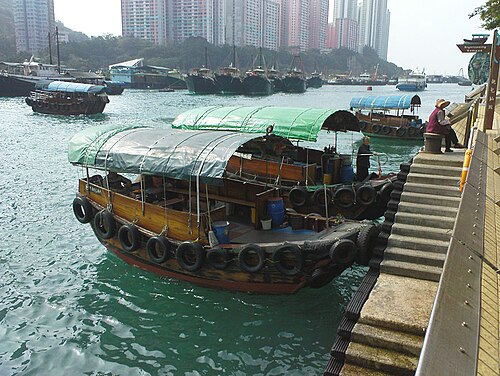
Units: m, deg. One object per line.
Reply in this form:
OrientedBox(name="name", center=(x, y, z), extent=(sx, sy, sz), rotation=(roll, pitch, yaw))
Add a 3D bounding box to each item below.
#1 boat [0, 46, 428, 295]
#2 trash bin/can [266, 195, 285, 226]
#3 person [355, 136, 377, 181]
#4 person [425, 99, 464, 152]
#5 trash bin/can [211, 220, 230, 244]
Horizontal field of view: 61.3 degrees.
OrientedBox(name="boat", center=(0.080, -0.265, 14.252), extent=(10.364, 3.886, 8.618), rotation=(11, 21, 28))
OrientedBox(name="trash bin/can", center=(0.775, 0.660, 12.354), extent=(0.679, 0.964, 0.676), rotation=(-3, 7, -13))
OrientedBox(name="person", center=(4.327, -0.990, 15.739), extent=(0.737, 1.885, 0.915), rotation=(9, 32, 21))
OrientedBox(name="person", center=(5.085, -1.645, 11.031), extent=(0.778, 1.364, 1.474), rotation=(10, 20, 25))
OrientedBox(name="trash bin/can", center=(-0.687, 1.125, 11.019), extent=(0.504, 0.510, 0.508), rotation=(0, 14, 11))
